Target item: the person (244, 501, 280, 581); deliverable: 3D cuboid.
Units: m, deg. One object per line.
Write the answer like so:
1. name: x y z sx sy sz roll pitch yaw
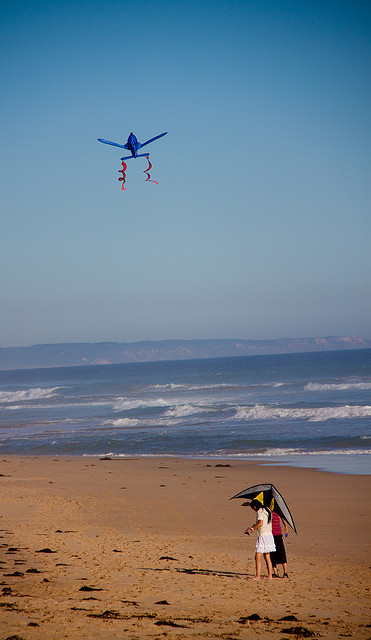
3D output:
1. person: 1.120 3.170 12.212 0.441 1.105 1.268 0 -4 6

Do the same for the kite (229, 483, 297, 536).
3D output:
1. kite: 1.230 2.784 12.401 0.675 0.590 1.048 1 -4 -12

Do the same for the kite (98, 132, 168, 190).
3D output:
1. kite: -0.754 -1.904 9.527 0.741 0.219 0.962 -40 36 -20
